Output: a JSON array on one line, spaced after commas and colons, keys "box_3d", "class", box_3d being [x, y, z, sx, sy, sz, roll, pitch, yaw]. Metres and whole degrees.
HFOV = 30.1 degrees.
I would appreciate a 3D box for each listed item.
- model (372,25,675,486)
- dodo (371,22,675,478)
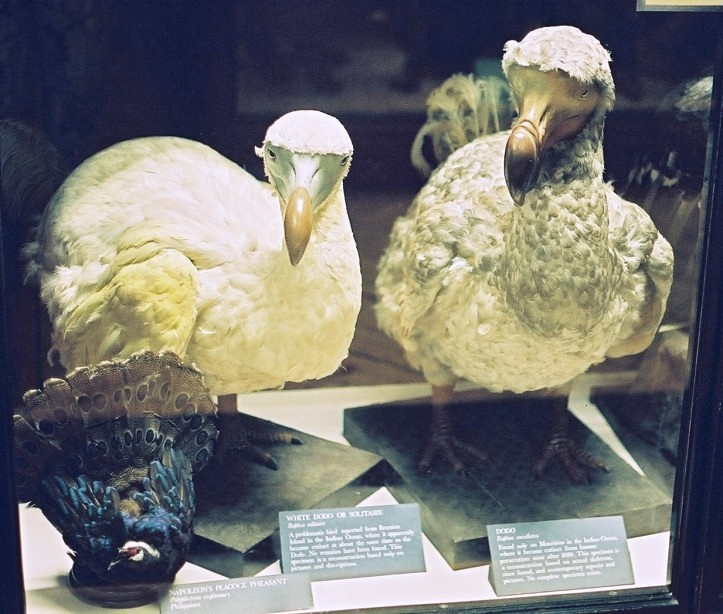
[{"box_3d": [0.408, -0.241, 3.915, 0.837, 1.155, 1.447, 2, 19, -5], "class": "model"}, {"box_3d": [0.417, -0.255, 3.940, 0.842, 1.199, 1.477, 2, 21, -5], "class": "dodo"}]
